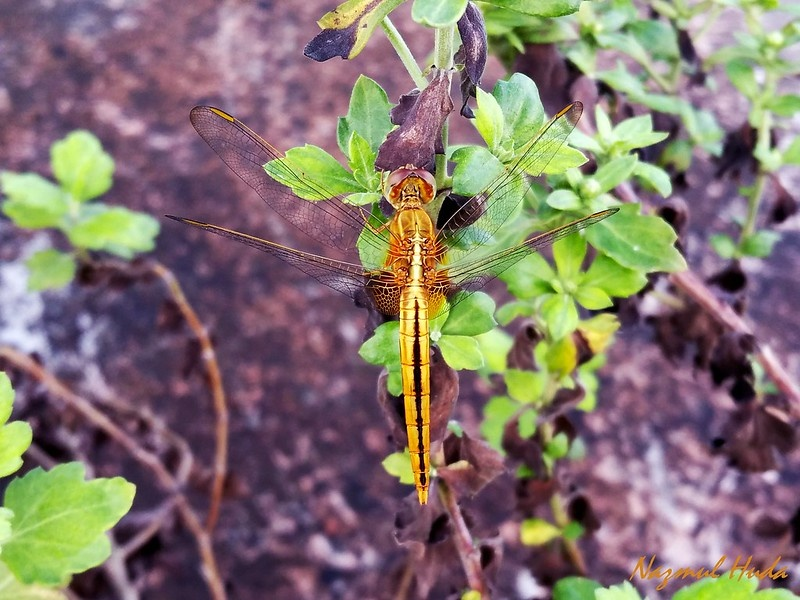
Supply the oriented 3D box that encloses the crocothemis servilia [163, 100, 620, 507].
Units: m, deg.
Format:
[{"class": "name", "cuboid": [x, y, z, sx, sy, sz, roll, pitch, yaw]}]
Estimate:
[{"class": "crocothemis servilia", "cuboid": [0.033, -0.163, 1.469, 0.641, 0.187, 0.767, -40, 84, -7]}]
